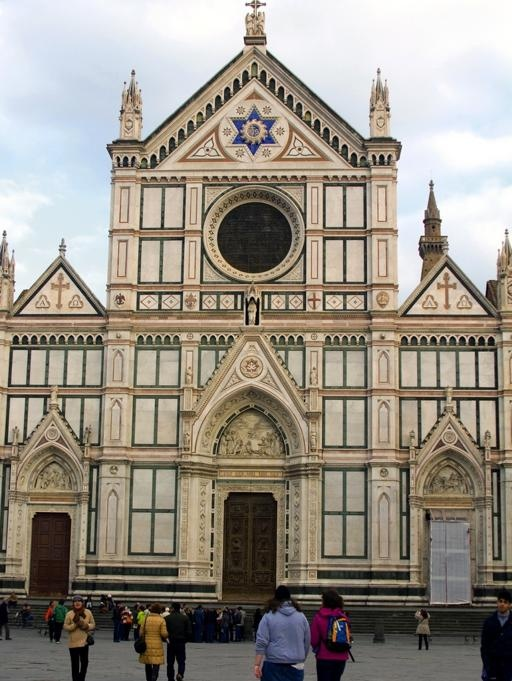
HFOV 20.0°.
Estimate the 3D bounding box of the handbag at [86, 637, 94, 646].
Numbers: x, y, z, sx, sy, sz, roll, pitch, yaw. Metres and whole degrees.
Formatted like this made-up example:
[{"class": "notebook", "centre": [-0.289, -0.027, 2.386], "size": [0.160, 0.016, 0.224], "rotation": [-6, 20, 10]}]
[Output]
[{"class": "handbag", "centre": [-2.788, 5.034, 24.534], "size": [0.128, 0.146, 0.380], "rotation": [1, -5, -2]}]
